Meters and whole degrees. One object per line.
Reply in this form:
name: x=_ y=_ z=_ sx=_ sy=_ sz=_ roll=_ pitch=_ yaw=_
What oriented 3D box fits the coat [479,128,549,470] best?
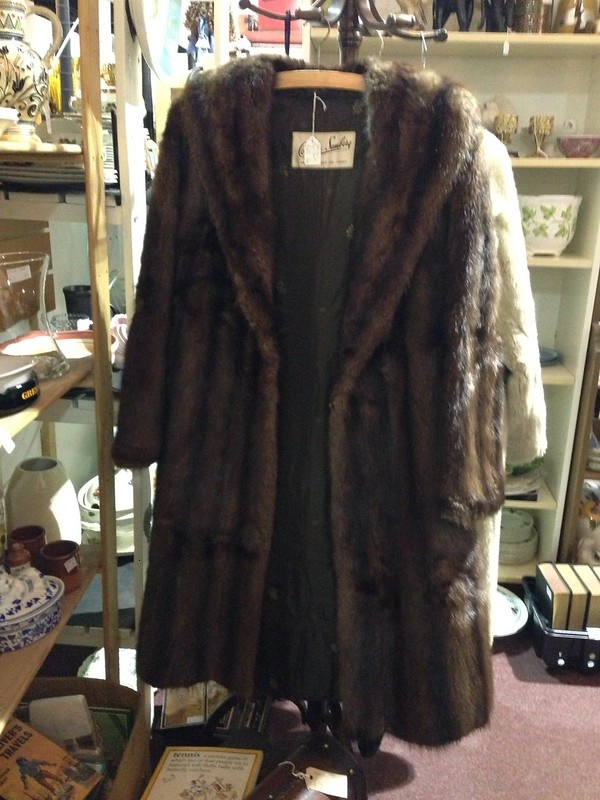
coat: x=0.371 y=-0.165 z=1.341 sx=0.058 sy=0.655 sz=0.140 roll=-3 pitch=6 yaw=29

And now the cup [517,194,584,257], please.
cup: x=0.675 y=-0.473 z=1.987 sx=0.141 sy=0.147 sz=0.161 roll=2 pitch=17 yaw=8

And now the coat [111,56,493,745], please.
coat: x=0.025 y=0.025 z=1.320 sx=0.621 sy=1.202 sz=0.187 roll=5 pitch=20 yaw=12

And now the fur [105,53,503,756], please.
fur: x=0.004 y=0.017 z=1.337 sx=0.630 sy=1.253 sz=0.201 roll=5 pitch=20 yaw=3
